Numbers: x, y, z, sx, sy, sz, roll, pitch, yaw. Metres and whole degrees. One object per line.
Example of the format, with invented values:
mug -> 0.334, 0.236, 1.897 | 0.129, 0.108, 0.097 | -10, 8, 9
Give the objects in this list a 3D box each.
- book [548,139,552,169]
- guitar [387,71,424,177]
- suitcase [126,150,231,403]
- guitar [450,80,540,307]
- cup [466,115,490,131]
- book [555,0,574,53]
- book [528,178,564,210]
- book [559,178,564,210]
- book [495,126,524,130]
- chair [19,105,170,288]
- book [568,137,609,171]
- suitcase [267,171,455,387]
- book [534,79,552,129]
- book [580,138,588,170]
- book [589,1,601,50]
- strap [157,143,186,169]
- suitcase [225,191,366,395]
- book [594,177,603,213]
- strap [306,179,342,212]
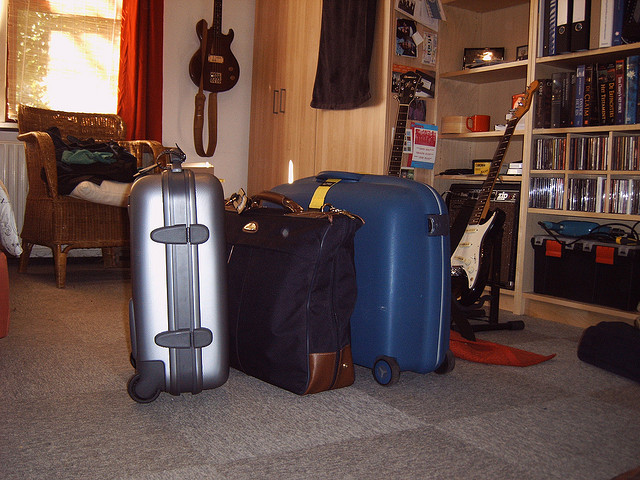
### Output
book -> 1.176, -0.444, 2.814 | 0.012, 0.150, 0.025 | 5, 10, 20
guitar -> 0.381, -0.550, 2.494 | 0.106, 0.696, 0.086 | 5, -9, 7
suitcase -> -0.420, 0.132, 1.597 | 0.285, 0.719, 0.128 | -2, 10, -20
guitar -> 0.755, -0.200, 2.502 | 0.308, 0.942, 0.463 | 5, 10, 20
cup -> 0.923, -0.686, 3.194 | 0.112, 0.092, 0.090 | 1, 4, 15
book -> 1.193, -1.051, 2.679 | 0.026, 0.239, 0.091 | -4, 11, -32
book -> 1.171, -0.244, 2.830 | 0.068, 0.147, 0.143 | -2, 9, -36
book -> 1.226, -0.239, 2.783 | 0.012, 0.155, 0.029 | 4, 9, 12
book -> 1.054, -0.622, 3.023 | 0.056, 0.020, 0.207 | -3, 11, -26
chair -> -1.472, -0.322, 3.430 | 0.704, 1.048, 0.756 | 5, 5, 42
book -> 1.323, -0.426, 2.688 | 0.085, 0.172, 0.166 | 2, 2, -10
suitcase -> 0.132, 0.151, 1.766 | 0.246, 0.671, 0.654 | -1, 3, -35
book -> 1.149, -0.711, 2.818 | 0.065, 0.202, 0.195 | 3, 21, 10
book -> 1.307, -0.428, 2.711 | 0.034, 0.150, 0.027 | 7, 10, 30
book -> 1.294, -1.018, 2.583 | 0.025, 0.216, 0.050 | -6, 11, -38
strap -> -0.456, -0.252, 1.689 | 0.094, 0.080, 0.023 | 0, 15, 16
suitcase -> -0.195, 0.149, 1.908 | 0.688, 0.627, 0.259 | 9, 10, 44
book -> 1.350, -0.222, 2.662 | 0.028, 0.161, 0.028 | 6, 10, 24
strap -> 0.045, -0.158, 1.868 | 0.074, 0.083, 0.265 | -18, 5, -25
